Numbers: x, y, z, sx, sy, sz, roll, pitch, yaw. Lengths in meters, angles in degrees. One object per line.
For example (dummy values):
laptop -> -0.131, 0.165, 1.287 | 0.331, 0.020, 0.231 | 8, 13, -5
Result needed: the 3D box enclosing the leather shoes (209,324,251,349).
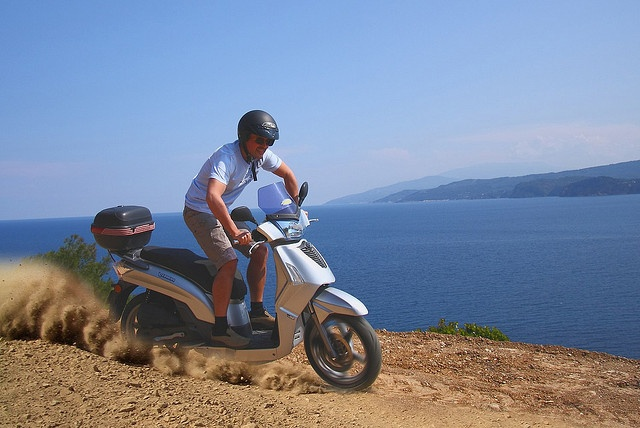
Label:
leather shoes -> -1.288, 1.776, 6.773 | 0.531, 0.232, 0.246 | 6, 13, 10
